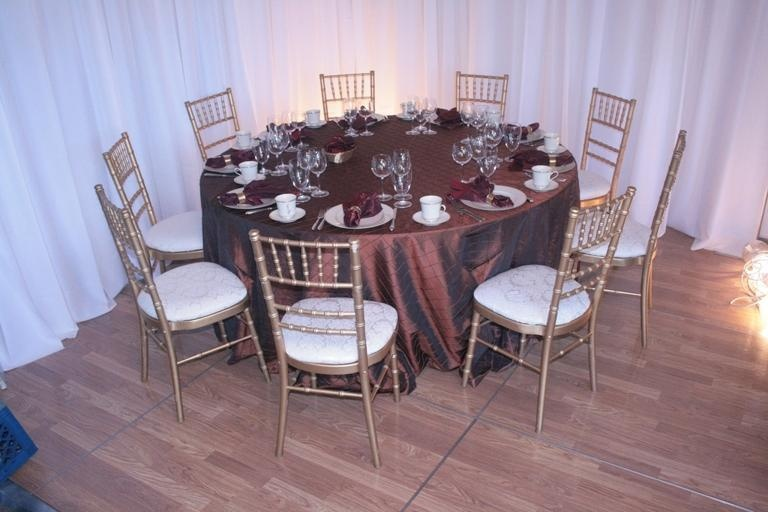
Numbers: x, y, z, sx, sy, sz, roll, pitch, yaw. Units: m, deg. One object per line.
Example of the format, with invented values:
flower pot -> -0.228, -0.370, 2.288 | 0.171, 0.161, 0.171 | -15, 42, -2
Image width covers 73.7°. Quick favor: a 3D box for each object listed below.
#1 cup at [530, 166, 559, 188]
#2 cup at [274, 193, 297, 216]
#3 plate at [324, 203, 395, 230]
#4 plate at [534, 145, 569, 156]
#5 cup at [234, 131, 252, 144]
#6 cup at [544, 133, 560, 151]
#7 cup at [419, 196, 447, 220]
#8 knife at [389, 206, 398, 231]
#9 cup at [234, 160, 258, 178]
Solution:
cup -> 0.955, -0.491, 3.159 | 0.193, 0.132, 0.132 | 13, 34, 37
cup -> -0.544, -0.291, 2.866 | 0.120, 0.107, 0.120 | -3, 29, 1
plate -> -0.137, -0.221, 2.846 | 0.386, 0.063, 0.233 | 2, 27, 7
plate -> 1.154, -0.733, 3.520 | 0.140, 0.027, 0.133 | -11, 28, -16
cup -> -1.019, -0.870, 3.781 | 0.119, 0.083, 0.094 | -30, 65, -21
cup -> 1.139, -0.778, 3.502 | 0.104, 0.097, 0.121 | -3, 33, 10
cup -> 0.261, -0.266, 2.833 | 0.142, 0.108, 0.117 | 13, 37, 22
knife -> 0.052, -0.208, 2.834 | 0.026, 0.010, 0.183 | 9, 36, 9
cup -> -0.866, -0.543, 3.277 | 0.136, 0.103, 0.110 | -15, 39, -16
